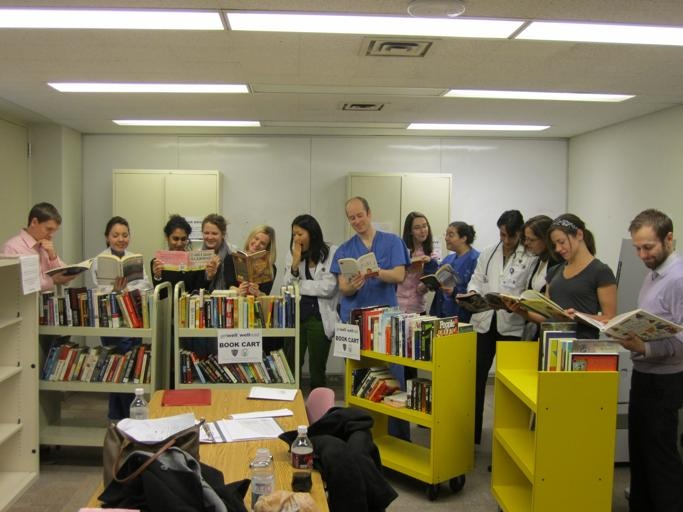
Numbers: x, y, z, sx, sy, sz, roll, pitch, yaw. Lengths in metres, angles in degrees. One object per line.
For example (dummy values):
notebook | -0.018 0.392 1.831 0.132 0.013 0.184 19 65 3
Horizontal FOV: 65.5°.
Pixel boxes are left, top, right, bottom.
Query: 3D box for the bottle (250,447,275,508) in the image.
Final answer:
bottle | -0.393 1.121 2.655 0.128 0.256 0.249 -1 4 -10

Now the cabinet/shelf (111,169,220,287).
cabinet/shelf | -2.171 -0.591 6.610 1.366 1.343 0.456 -2 -21 -10

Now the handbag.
handbag | -0.976 0.978 2.737 0.366 0.151 0.294 3 -6 -34

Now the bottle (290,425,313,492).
bottle | -0.207 1.062 2.791 0.116 0.293 0.280 0 4 -4

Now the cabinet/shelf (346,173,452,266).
cabinet/shelf | 0.623 -0.443 5.921 1.075 1.029 0.364 2 0 -8

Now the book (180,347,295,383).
book | -0.896 0.959 4.557 0.958 0.288 0.126 0 4 -3

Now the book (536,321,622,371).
book | 1.547 0.619 3.488 0.379 0.227 0.384 2 -2 -17
